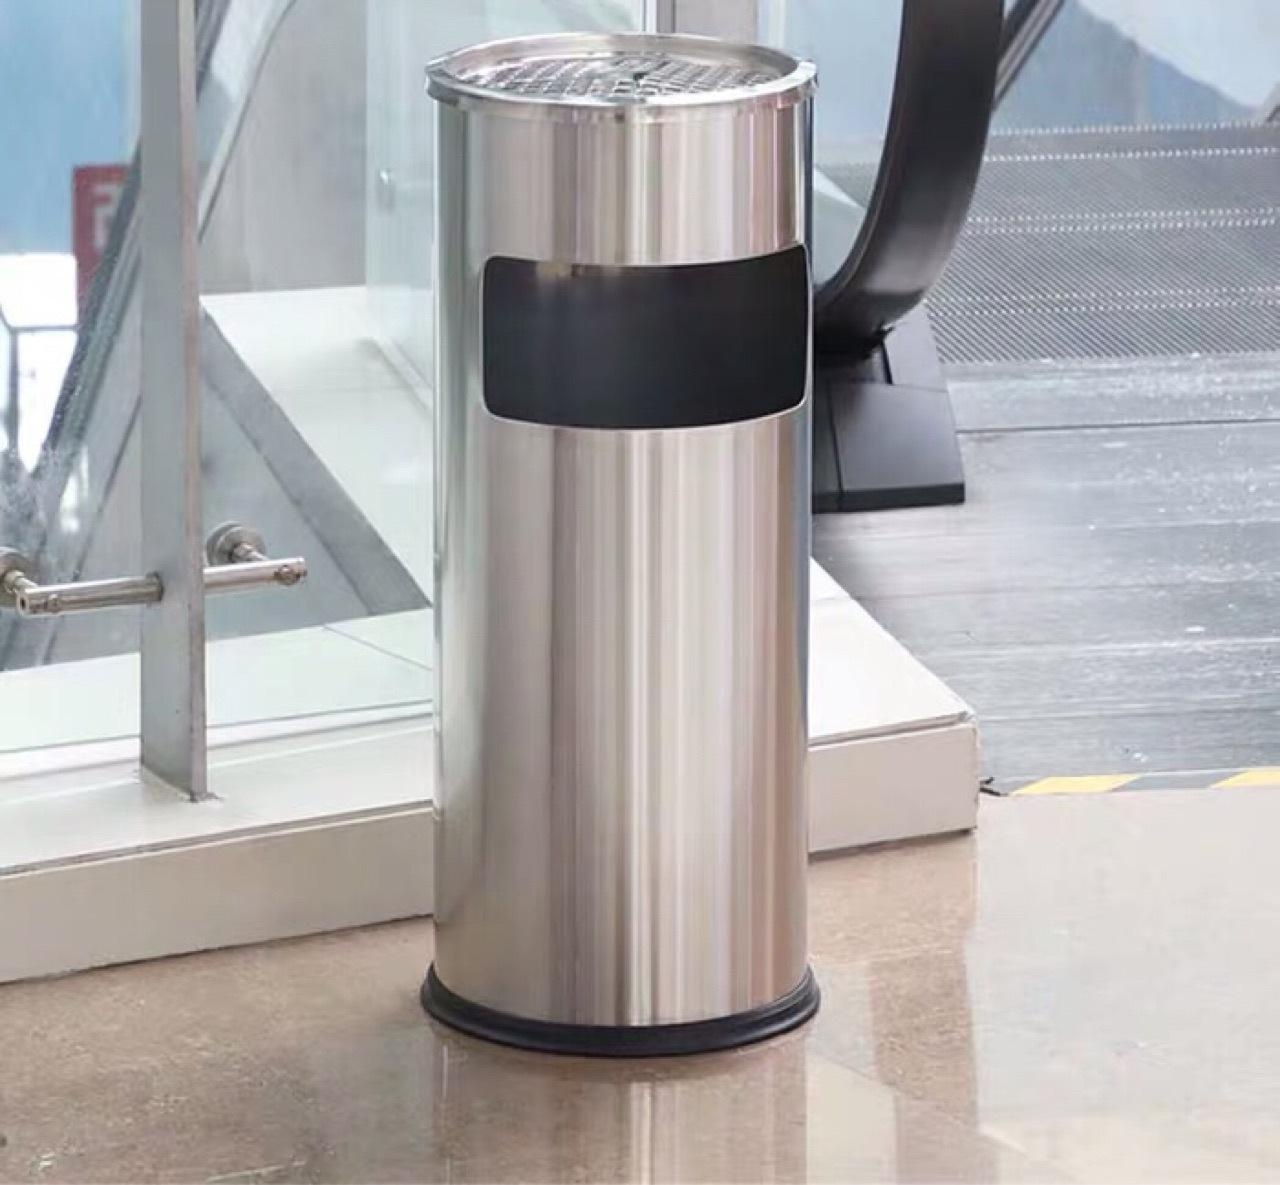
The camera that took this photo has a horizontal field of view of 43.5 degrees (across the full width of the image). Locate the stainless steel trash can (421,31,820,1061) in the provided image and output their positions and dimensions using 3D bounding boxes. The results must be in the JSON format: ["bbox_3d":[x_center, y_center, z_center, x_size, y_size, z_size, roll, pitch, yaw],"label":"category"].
[{"bbox_3d":[-0.032,-0.036,1.607,0.424,0.981,0.365,-4,20,-9],"label":"stainless steel trash can"}]
